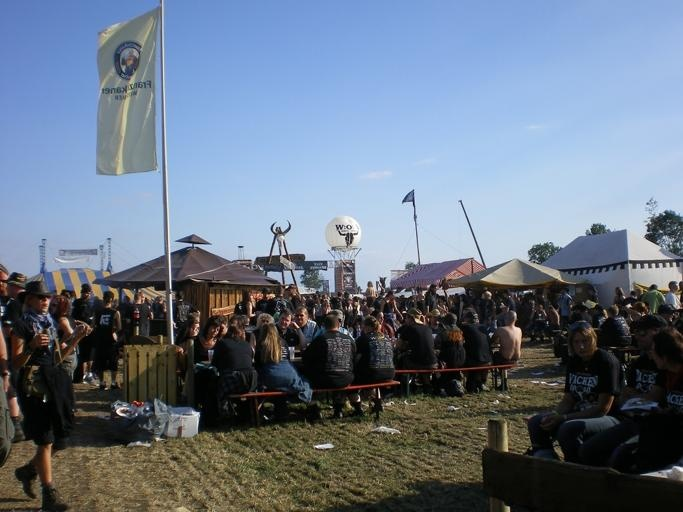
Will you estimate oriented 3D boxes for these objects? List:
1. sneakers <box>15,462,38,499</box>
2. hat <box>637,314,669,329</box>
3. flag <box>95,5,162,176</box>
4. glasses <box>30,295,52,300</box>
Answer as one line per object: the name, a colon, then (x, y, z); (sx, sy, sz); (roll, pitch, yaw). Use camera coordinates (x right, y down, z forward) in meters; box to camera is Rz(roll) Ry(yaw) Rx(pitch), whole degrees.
sneakers: (-3.642, 2.565, 7.174); (0.305, 0.389, 0.116); (0, 0, 12)
hat: (3.864, 0.821, 7.732); (0.340, 0.160, 0.244); (3, -2, 5)
flag: (-4.772, -3.709, 13.845); (1.275, 3.184, 0.864); (0, 0, -16)
glasses: (-3.416, 0.471, 7.063); (0.210, 0.058, 0.118); (1, -1, -31)
